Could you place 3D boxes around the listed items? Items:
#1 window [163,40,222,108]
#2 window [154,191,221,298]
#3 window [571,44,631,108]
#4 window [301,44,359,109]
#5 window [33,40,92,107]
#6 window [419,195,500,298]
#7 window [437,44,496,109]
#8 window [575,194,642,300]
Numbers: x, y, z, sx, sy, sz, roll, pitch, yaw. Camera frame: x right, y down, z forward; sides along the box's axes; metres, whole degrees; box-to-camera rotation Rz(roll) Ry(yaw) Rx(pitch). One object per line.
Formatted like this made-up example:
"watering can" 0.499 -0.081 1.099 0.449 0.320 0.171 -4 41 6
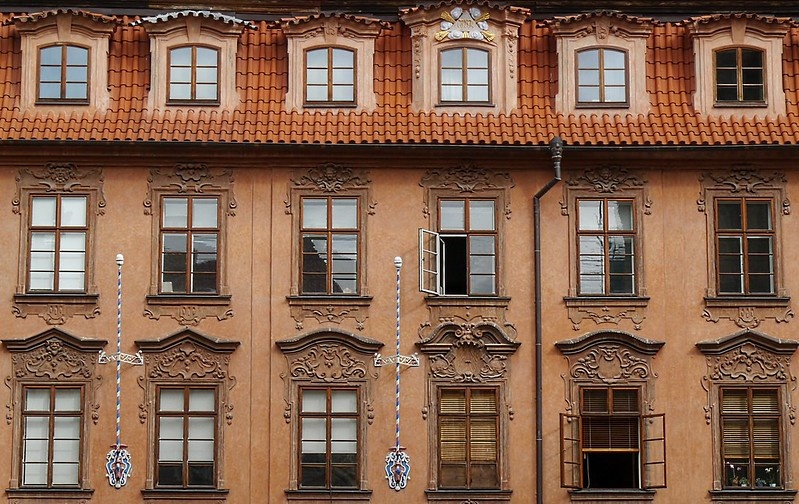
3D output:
"window" -5.796 -4.896 62.371 2.323 2.135 0.154 0 -12 -4
"window" -5.806 -0.183 61.975 1.522 2.679 0.784 1 -17 -11
"window" 5.486 -4.860 62.462 2.192 1.948 0.153 0 -11 -2
"window" -2.004 -4.851 62.461 2.195 1.944 0.273 0 -9 -3
"window" -9.363 -4.911 62.261 2.282 2.176 0.154 0 -13 -5
"window" 1.565 -0.005 62.046 3.433 3.393 0.406 0 -13 -2
"window" 1.778 -4.853 62.513 2.233 1.977 0.172 0 -10 -3
"window" 5.635 -0.139 62.088 1.628 2.661 0.565 -3 -17 0
